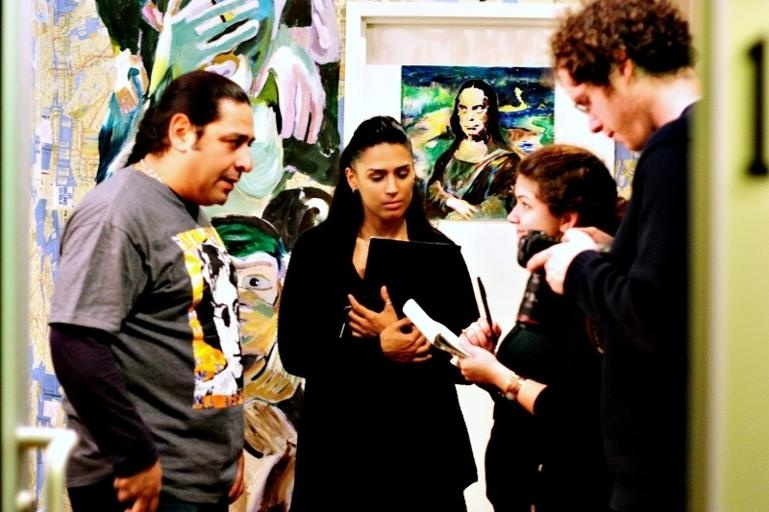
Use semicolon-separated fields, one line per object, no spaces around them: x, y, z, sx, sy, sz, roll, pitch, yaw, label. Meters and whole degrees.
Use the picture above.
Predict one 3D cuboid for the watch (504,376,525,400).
0.459;0.480;3.127;0.060;0.090;0.091;24;-14;17;watch
